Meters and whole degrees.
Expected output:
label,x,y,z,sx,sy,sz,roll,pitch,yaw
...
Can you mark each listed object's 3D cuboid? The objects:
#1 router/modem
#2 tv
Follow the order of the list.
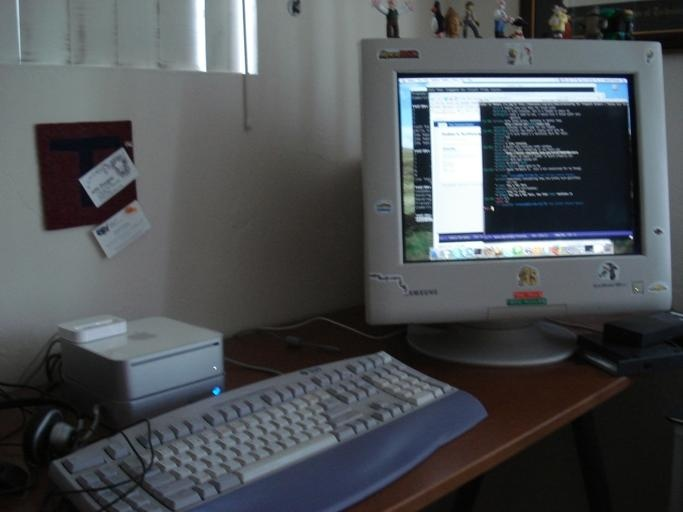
label,x,y,z,sx,sy,sz,roll,pitch,yaw
router/modem,-0.331,0.145,0.991,0.186,0.117,0.189,8,10,40
tv,0.321,-0.112,1.254,0.562,0.615,0.353,-2,7,-4
